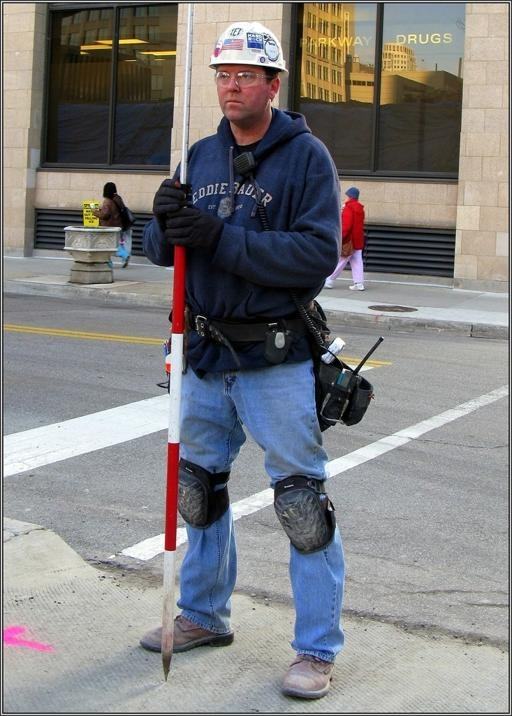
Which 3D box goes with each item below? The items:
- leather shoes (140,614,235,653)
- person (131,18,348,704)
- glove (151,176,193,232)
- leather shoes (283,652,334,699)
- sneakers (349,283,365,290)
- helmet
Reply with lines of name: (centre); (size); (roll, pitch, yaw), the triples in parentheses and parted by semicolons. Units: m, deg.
leather shoes: (-0.236, 0.968, 2.701); (0.297, 0.115, 0.109); (7, -22, -9)
person: (0.006, -0.026, 2.539); (0.713, 2.143, 0.532); (5, 8, 14)
glove: (-0.270, -0.486, 2.434); (0.058, 0.140, 0.114); (20, -6, -17)
leather shoes: (0.164, 1.007, 2.425); (0.127, 0.086, 0.152); (5, 7, 16)
sneakers: (2.034, -1.447, 15.616); (0.137, 0.128, 0.333); (-9, 13, -33)
helmet: (-0.058, -1.036, 2.553); (0.240, 0.135, 0.288); (3, 20, 13)
